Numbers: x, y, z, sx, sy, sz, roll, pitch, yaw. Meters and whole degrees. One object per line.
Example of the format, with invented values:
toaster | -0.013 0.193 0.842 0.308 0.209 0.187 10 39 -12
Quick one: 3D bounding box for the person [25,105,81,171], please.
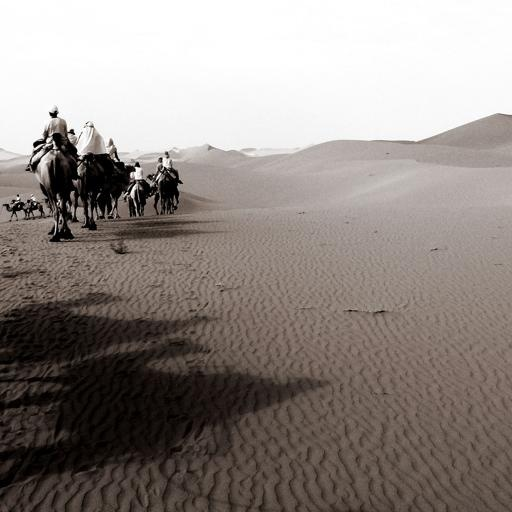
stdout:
person | -5.936 -3.378 14.951 1.282 1.873 0.880 -1 13 -16
